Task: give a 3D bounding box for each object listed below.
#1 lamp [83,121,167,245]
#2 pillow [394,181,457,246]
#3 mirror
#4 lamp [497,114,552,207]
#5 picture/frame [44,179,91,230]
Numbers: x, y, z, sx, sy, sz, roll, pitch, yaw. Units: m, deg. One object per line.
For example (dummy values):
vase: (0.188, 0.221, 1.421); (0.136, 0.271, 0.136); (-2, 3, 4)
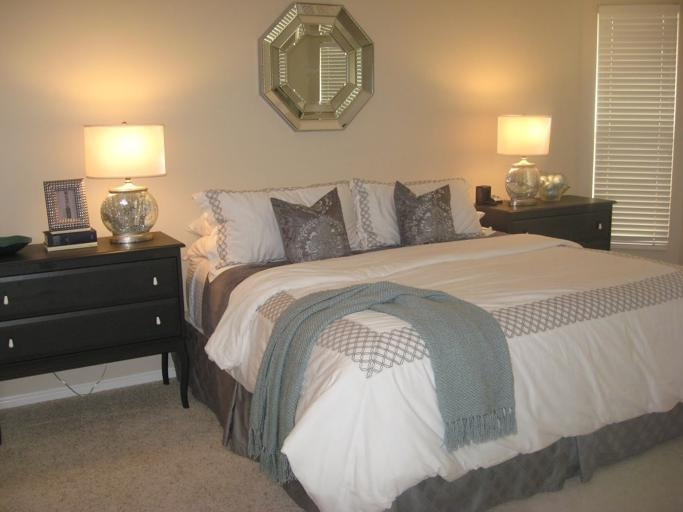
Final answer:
lamp: (-1.293, -0.428, 3.320); (0.459, 0.702, 0.466); (4, 8, 35)
pillow: (0.526, -0.252, 3.533); (0.408, 0.419, 0.131); (-6, -16, -27)
mirror: (-0.208, -1.362, 3.905); (0.854, 0.887, 0.220); (-3, 4, -29)
lamp: (1.468, -0.771, 4.417); (0.398, 0.710, 0.354); (-1, 13, 12)
picture/frame: (-1.597, -0.297, 3.179); (0.257, 0.347, 0.037); (-12, 4, -30)
